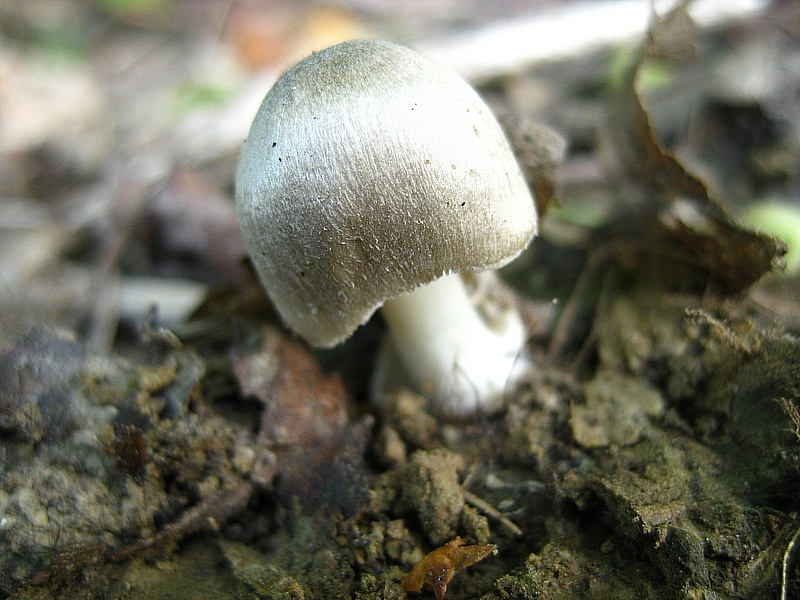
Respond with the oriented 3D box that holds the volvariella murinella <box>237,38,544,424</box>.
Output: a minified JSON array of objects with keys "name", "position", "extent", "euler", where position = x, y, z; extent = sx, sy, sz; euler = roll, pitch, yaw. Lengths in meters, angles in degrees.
[{"name":"volvariella murinella","position":[-0.035,-0.273,4.687],"extent":[1.241,1.395,0.986],"euler":[5,50,15]}]
